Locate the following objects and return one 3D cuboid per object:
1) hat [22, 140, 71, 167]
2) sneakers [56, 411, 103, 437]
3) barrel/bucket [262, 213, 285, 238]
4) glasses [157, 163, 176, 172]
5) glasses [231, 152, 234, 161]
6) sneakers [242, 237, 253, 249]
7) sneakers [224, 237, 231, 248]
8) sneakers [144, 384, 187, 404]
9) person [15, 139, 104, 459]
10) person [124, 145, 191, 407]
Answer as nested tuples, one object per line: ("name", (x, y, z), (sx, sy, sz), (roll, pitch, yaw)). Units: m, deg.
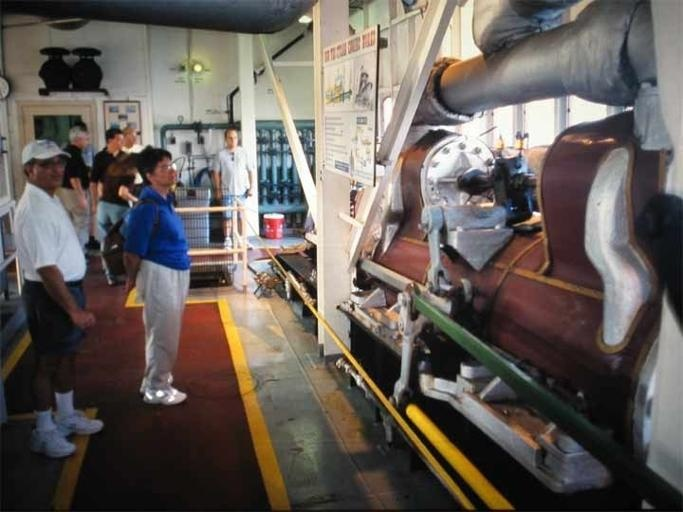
("hat", (-2.213, -0.746, 3.842), (0.254, 0.125, 0.186), (-3, 11, 29))
("sneakers", (-2.147, 1.364, 4.377), (0.425, 0.215, 0.162), (1, 14, -22))
("barrel/bucket", (-1.627, -0.726, 12.420), (0.642, 0.658, 0.622), (1, 3, 0))
("glasses", (-1.490, -0.777, 4.550), (0.079, 0.068, 0.198), (6, 15, 18))
("glasses", (-2.222, -2.072, 10.750), (0.088, 0.164, 0.039), (-8, 13, -44))
("sneakers", (-1.747, -0.245, 9.676), (0.202, 0.098, 0.275), (3, 22, -1))
("sneakers", (-1.804, -0.222, 8.287), (0.075, 0.155, 0.197), (4, 14, 9))
("sneakers", (-1.638, 1.288, 4.821), (0.324, 0.146, 0.177), (1, 18, -11))
("person", (-2.186, 0.338, 3.987), (0.524, 2.392, 0.490), (-7, 16, -33))
("person", (-1.627, 0.217, 4.651), (0.523, 2.304, 0.343), (-3, 14, -18))
